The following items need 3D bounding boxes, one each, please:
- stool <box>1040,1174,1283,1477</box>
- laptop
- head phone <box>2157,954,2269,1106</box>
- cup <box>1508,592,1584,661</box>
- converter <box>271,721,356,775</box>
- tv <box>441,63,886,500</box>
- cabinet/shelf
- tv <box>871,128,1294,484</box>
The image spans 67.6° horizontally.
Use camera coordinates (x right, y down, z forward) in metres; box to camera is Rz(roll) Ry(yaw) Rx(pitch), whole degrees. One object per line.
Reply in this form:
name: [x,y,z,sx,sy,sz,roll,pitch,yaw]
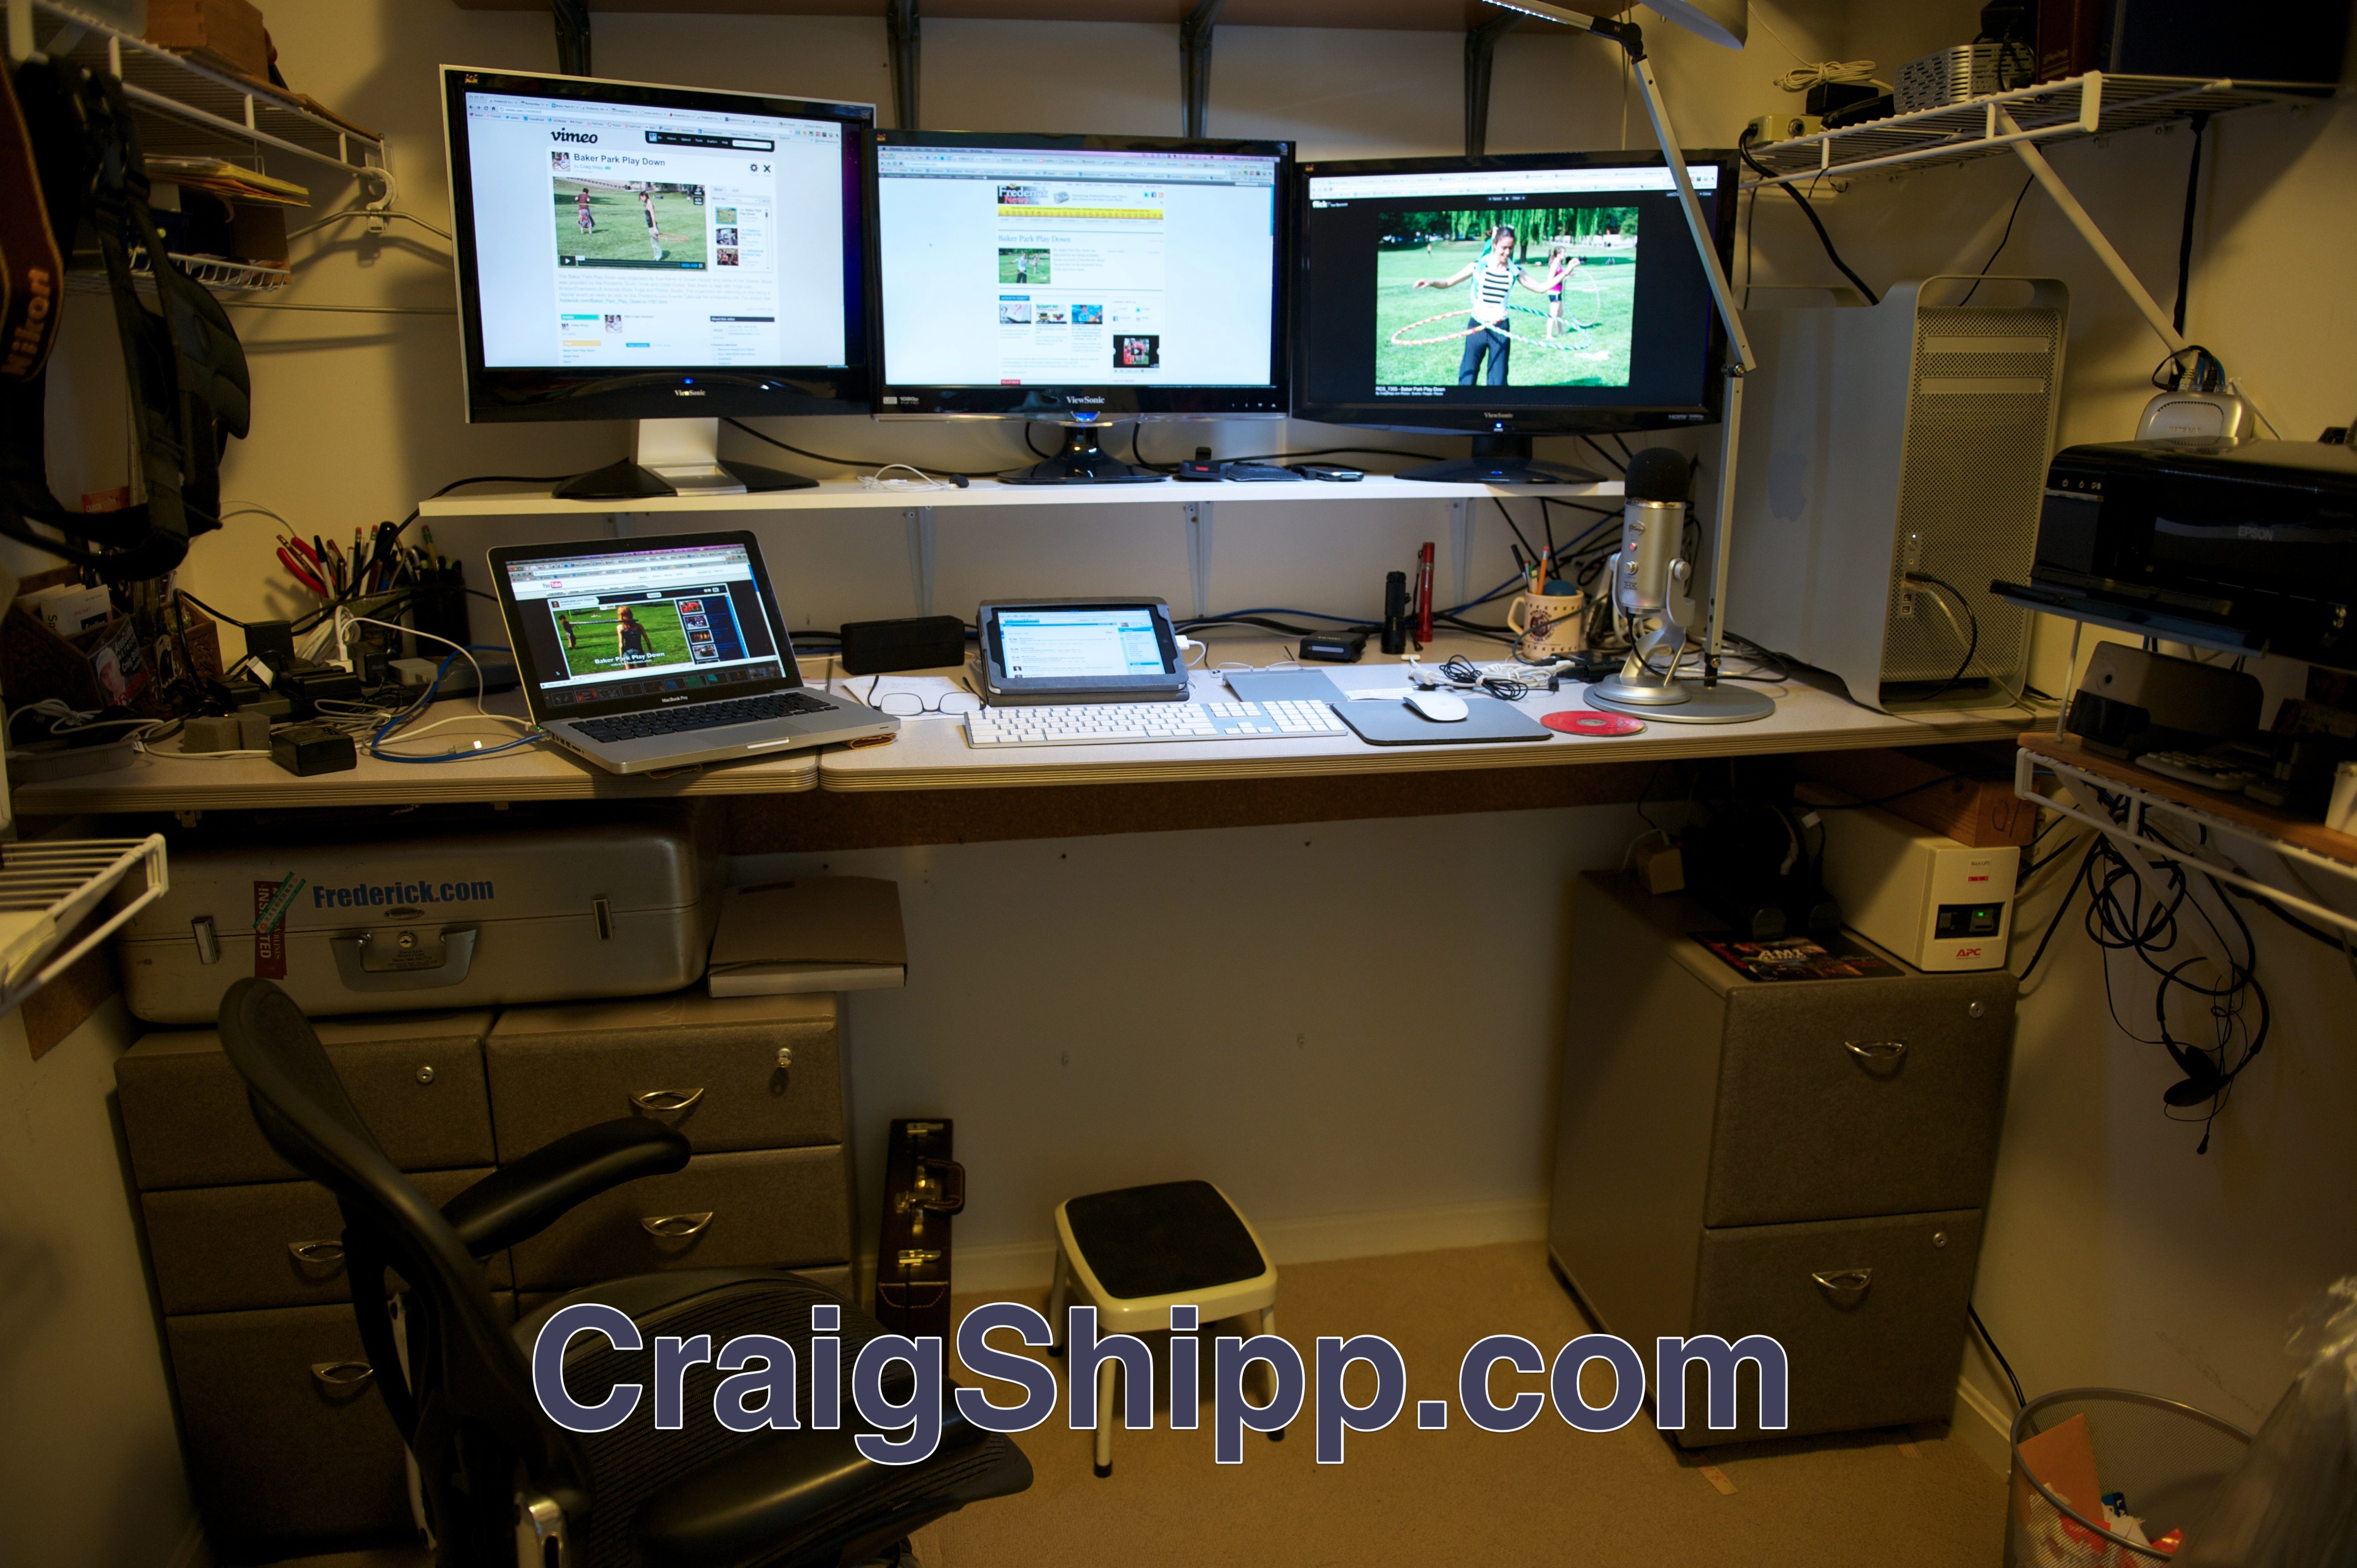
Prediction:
stool: [-0.043,0.999,3.251,0.415,0.325,0.432,-6,25,-17]
laptop: [-0.815,-0.214,2.810,0.480,0.314,0.490,-10,21,-33]
head phone: [1.592,0.387,2.731,0.061,0.270,0.179,-13,18,-31]
cup: [0.675,-0.297,3.241,0.100,0.114,0.141,-7,21,-26]
converter: [-1.324,-0.057,2.677,0.100,0.051,0.182,-18,22,-42]
tv: [-0.832,-0.841,2.839,0.714,0.612,0.268,-3,17,-18]
cabinet/shelf: [1.020,0.610,3.319,0.733,1.192,0.946,-1,12,-9]
tv: [-0.170,-0.838,2.993,0.655,0.488,0.186,0,27,-6]
